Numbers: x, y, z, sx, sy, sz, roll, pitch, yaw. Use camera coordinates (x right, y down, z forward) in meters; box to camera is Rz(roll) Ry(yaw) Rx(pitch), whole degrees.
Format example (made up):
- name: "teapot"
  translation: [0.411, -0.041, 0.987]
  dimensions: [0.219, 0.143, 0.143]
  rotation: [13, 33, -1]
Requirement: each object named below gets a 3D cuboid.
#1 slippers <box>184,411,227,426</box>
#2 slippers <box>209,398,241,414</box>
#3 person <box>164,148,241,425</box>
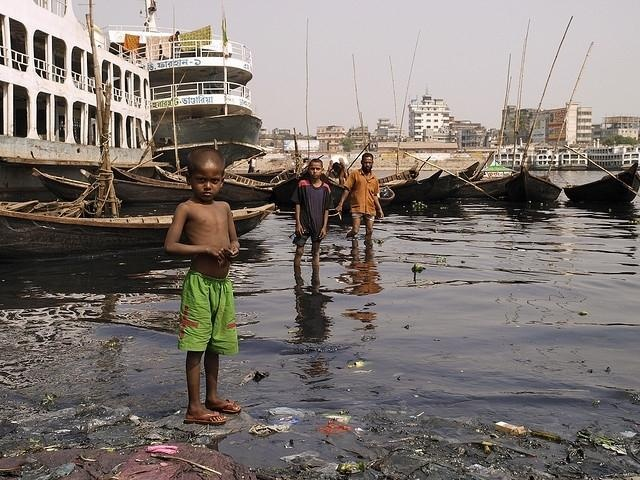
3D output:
- name: "slippers"
  translation: [-0.857, 1.316, 4.649]
  dimensions: [0.260, 0.044, 0.108]
  rotation: [0, -2, 4]
- name: "slippers"
  translation: [-0.727, 1.270, 4.804]
  dimensions: [0.247, 0.049, 0.103]
  rotation: [2, 4, 5]
- name: "person"
  translation: [-0.880, 0.328, 4.757]
  dimensions: [0.534, 2.018, 0.799]
  rotation: [-2, 15, -7]
